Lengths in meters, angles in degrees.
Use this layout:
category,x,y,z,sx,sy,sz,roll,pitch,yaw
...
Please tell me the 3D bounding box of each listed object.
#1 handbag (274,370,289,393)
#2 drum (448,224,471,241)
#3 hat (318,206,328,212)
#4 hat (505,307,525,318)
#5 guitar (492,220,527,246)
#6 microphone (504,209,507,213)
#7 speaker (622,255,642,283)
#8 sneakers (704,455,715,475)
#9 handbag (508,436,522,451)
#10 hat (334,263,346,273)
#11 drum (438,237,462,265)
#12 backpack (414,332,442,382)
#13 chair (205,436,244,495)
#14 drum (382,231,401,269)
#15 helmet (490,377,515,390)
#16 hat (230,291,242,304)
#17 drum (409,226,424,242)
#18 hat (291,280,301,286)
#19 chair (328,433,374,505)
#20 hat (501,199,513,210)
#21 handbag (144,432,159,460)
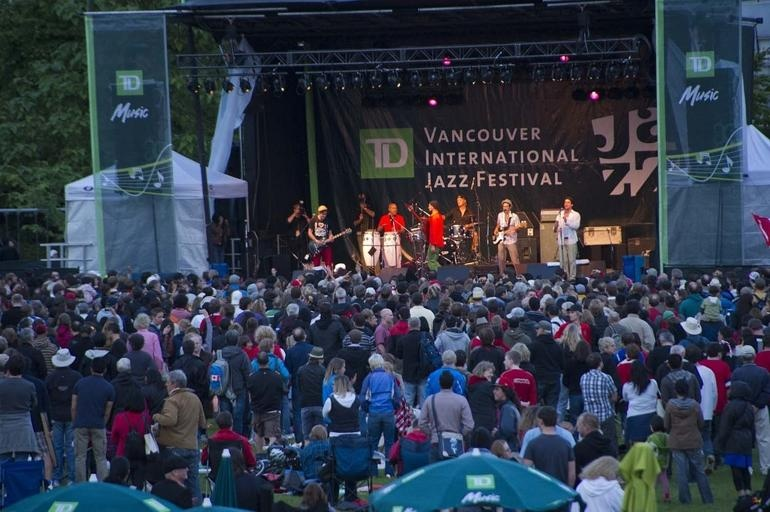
category,x,y,z,sx,sy,sz,roll,pitch,yaw
handbag,-2.051,2.563,31.120,0.137,0.415,0.293,-21,4,31
drum,2.009,-0.614,43.793,0.430,0.303,0.450,-1,-1,0
hat,-1.740,-1.258,42.158,0.192,0.119,0.268,-7,0,-29
hat,2.621,1.200,31.442,0.270,0.165,0.209,4,9,16
guitar,3.270,-0.515,42.588,1.079,0.498,0.126,-26,-15,40
microphone,3.257,-1.210,42.330,0.083,0.117,0.115,1,0,4
speaker,6.256,0.348,39.350,0.535,1.102,0.565,1,-1,17
sneakers,6.330,4.168,30.309,0.164,0.503,0.218,0,25,16
handbag,2.446,3.600,29.599,0.267,0.269,0.088,41,-13,-20
hat,-1.090,0.313,37.251,0.234,0.204,0.365,4,0,-15
drum,1.848,-0.114,44.098,0.630,0.684,0.640,0,-1,2
backpack,0.852,2.008,30.956,0.547,0.786,0.294,0,12,18
chair,-2.992,3.957,29.244,0.820,0.971,0.740,0,2,1
drum,0.165,-0.145,42.809,0.761,1.111,0.775,-1,-7,0
helmet,2.302,2.487,29.864,0.303,0.121,0.231,16,-6,-14
hat,-3.145,0.900,32.641,0.245,0.252,0.232,1,7,22
drum,0.842,-0.571,42.814,0.330,0.352,0.350,0,1,0
hat,-1.955,0.616,33.918,0.186,0.149,0.192,-14,-17,25
chair,-0.670,4.098,29.956,1.011,1.471,1.067,0,-5,-3
hat,3.385,-1.399,43.208,0.325,0.154,0.372,1,-6,6
handbag,-4.421,3.629,29.229,0.244,0.458,0.381,-13,0,20
